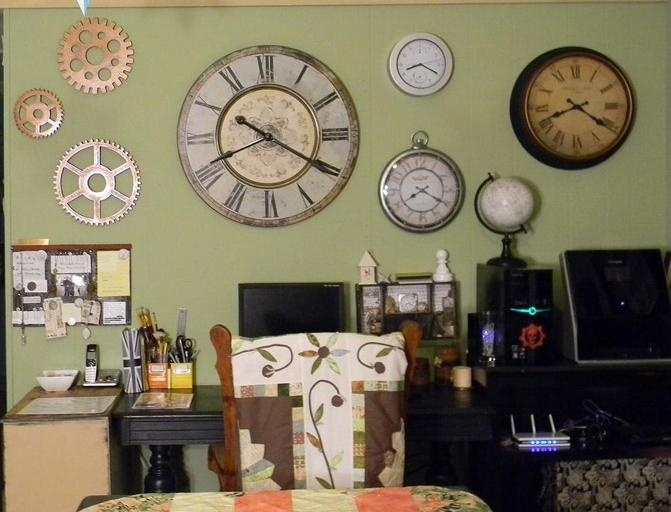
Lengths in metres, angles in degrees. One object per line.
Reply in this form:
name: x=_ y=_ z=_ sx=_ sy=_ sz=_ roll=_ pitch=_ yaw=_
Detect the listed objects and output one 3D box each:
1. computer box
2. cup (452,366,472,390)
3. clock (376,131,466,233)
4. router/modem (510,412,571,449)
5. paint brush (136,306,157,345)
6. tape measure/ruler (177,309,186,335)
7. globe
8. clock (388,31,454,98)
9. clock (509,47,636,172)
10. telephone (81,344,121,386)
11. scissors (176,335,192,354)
computer box: x=0.952 y=0.304 z=3.952 sx=0.494 sy=0.706 sz=0.385 roll=-1 pitch=-1 yaw=15
cup: x=0.660 y=0.637 z=4.058 sx=0.112 sy=0.110 sz=0.090 roll=0 pitch=-1 yaw=1
clock: x=0.464 y=-0.387 z=4.127 sx=0.481 sy=0.493 sz=0.126 roll=3 pitch=5 yaw=4
router/modem: x=1.034 y=0.892 z=3.959 sx=0.296 sy=0.160 sz=0.250 roll=-2 pitch=-7 yaw=0
paint brush: x=-1.016 y=0.378 z=4.192 sx=0.091 sy=0.205 sz=0.108 roll=0 pitch=-7 yaw=-15
tape measure/ruler: x=-0.845 y=0.358 z=4.262 sx=0.063 sy=0.147 sz=0.034 roll=-1 pitch=-6 yaw=-10
globe: x=0.931 y=-0.203 z=4.191 sx=0.342 sy=0.549 sz=0.269 roll=-3 pitch=-6 yaw=4
clock: x=0.468 y=-1.052 z=4.235 sx=0.352 sy=0.327 sz=0.088 roll=-2 pitch=-6 yaw=2
clock: x=1.308 y=-0.818 z=4.158 sx=0.641 sy=0.660 sz=0.149 roll=1 pitch=2 yaw=-3
telephone: x=-1.266 y=0.575 z=4.204 sx=0.224 sy=0.237 sz=0.208 roll=0 pitch=-2 yaw=-8
scissors: x=-0.811 y=0.473 z=4.167 sx=0.067 sy=0.094 sz=0.034 roll=-7 pitch=-13 yaw=-23
